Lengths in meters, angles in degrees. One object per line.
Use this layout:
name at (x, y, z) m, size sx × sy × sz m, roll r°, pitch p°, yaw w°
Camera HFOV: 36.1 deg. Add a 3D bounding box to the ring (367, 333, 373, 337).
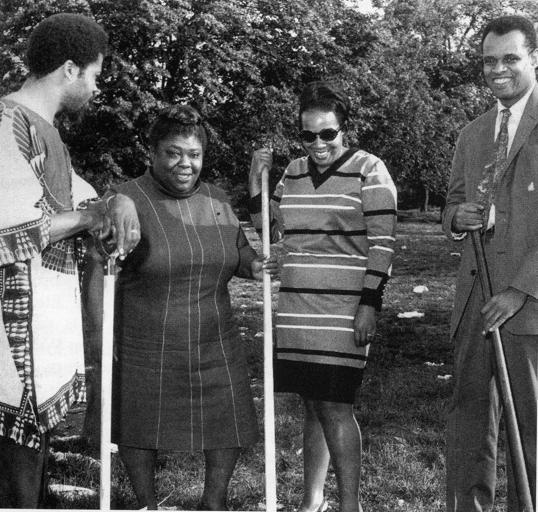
ring at (0.480, 0.389, 4.030) m, size 0.036 × 0.025 × 0.009 m, roll -5°, pitch 11°, yaw -37°
